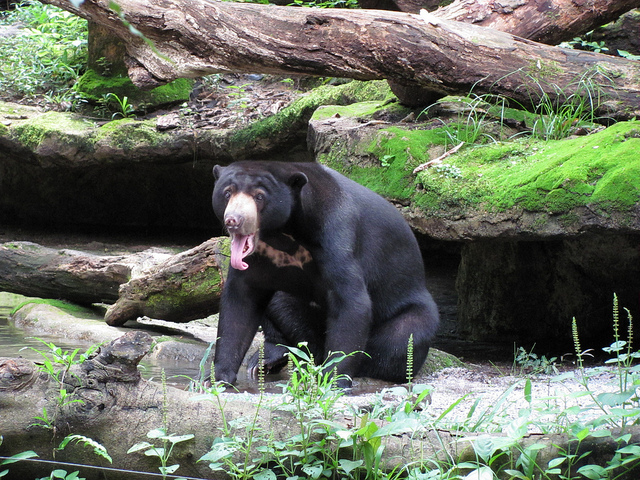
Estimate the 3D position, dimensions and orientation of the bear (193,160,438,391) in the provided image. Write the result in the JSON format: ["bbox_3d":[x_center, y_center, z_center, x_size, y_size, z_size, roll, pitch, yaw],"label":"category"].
[{"bbox_3d":[-0.034,0.259,4.827,1.692,1.633,0.934,4,-10,-25],"label":"bear"}]
